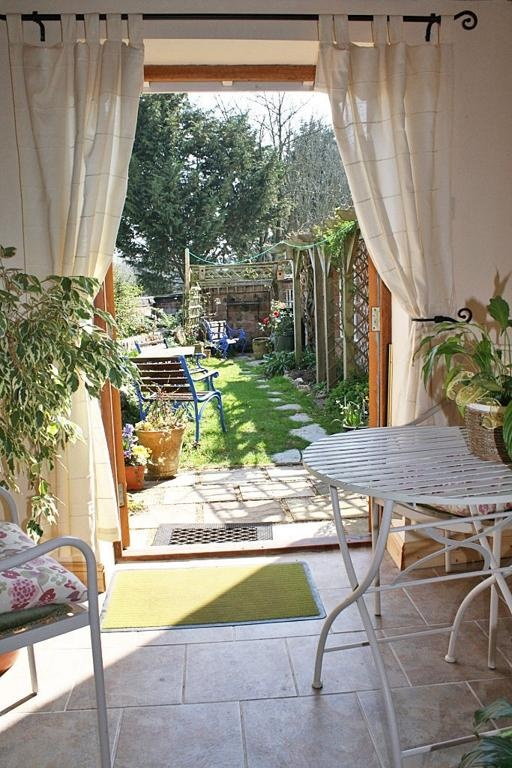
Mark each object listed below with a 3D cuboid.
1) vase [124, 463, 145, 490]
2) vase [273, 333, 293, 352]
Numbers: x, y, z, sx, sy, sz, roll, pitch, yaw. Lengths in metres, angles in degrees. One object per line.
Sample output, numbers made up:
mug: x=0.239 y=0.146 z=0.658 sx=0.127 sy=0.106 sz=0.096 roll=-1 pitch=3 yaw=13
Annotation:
vase: x=-0.795 y=0.617 z=3.786 sx=0.171 sy=0.155 sz=0.171 roll=0 pitch=-5 yaw=-21
vase: x=0.454 y=-0.672 z=9.414 sx=0.288 sy=0.298 sz=0.297 roll=-1 pitch=6 yaw=7
